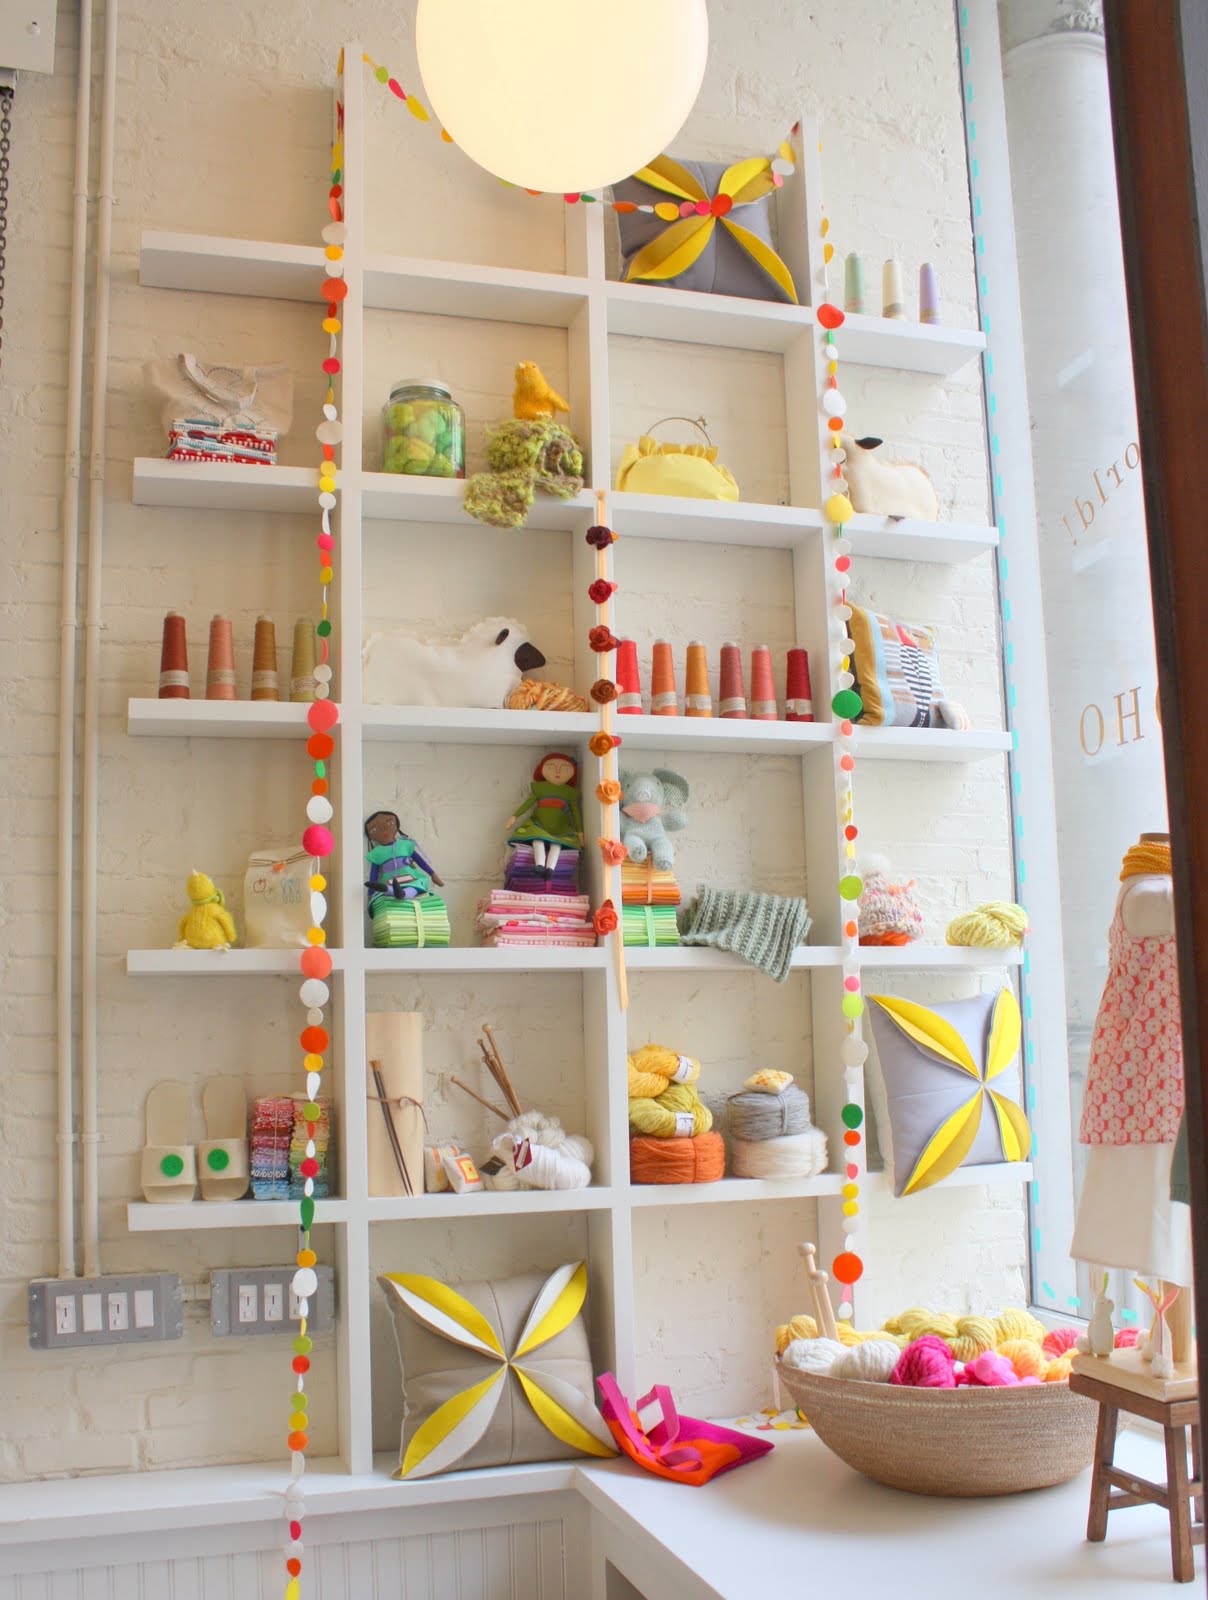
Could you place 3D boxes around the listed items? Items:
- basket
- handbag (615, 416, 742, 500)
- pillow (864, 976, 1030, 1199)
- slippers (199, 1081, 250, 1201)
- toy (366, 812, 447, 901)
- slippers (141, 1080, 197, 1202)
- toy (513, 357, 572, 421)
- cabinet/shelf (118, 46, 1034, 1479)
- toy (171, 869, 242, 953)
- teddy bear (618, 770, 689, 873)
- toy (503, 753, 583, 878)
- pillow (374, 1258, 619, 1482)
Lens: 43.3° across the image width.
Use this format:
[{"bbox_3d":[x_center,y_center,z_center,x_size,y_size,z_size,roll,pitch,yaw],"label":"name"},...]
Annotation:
[{"bbox_3d":[0.417,0.776,1.854,0.245,0.074,0.235,0,-16,-1],"label":"basket"},{"bbox_3d":[0.113,-0.571,2.539,0.189,0.146,0.088,5,-13,-13],"label":"handbag"},{"bbox_3d":[0.543,0.473,2.455,0.374,0.345,0.139,4,-15,-32],"label":"pillow"},{"bbox_3d":[-0.549,0.482,2.181,0.061,0.181,0.030,0,-16,-10],"label":"slippers"},{"bbox_3d":[-0.305,0.089,2.264,0.111,0.123,0.047,-13,-7,-17],"label":"toy"},{"bbox_3d":[-0.621,0.484,2.162,0.075,0.173,0.031,1,-21,-15],"label":"slippers"},{"bbox_3d":[-0.107,-0.654,2.468,0.086,0.109,0.217,-6,-1,-1],"label":"toy"},{"bbox_3d":[-0.008,-0.128,2.420,1.594,2.233,0.504,-6,-1,-29],"label":"cabinet/shelf"},{"bbox_3d":[-0.577,0.159,2.151,0.098,0.107,0.079,-6,-1,10],"label":"toy"},{"bbox_3d":[0.068,0.026,2.427,0.141,0.161,0.094,-1,5,-19],"label":"teddy bear"},{"bbox_3d":[-0.091,0.038,2.398,0.101,0.213,0.146,-7,-1,18],"label":"toy"},{"bbox_3d":[-0.157,0.819,2.150,0.262,0.207,0.114,4,-21,-22],"label":"pillow"}]
